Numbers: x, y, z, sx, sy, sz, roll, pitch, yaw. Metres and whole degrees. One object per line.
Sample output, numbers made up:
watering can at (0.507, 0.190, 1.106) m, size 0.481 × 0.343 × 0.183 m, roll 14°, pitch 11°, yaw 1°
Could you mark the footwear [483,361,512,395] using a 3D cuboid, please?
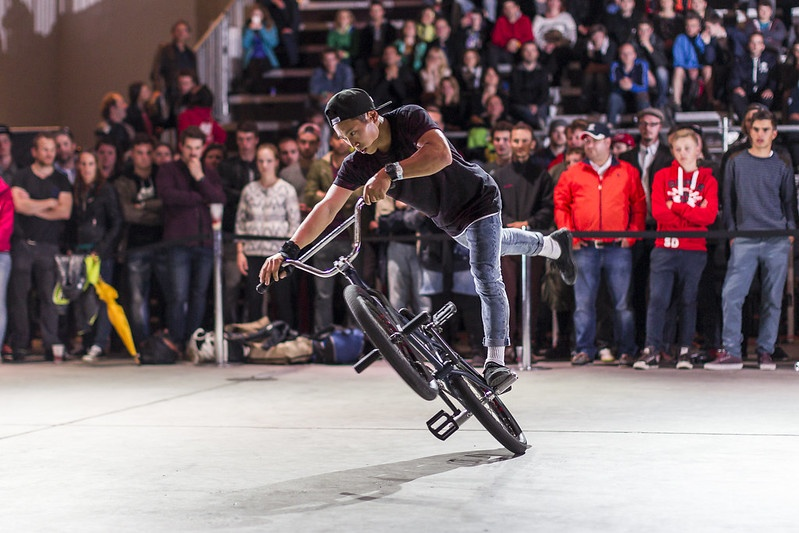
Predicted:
footwear at (0.959, 1.111, 13.157) m, size 0.203 × 0.139 × 0.345 m, roll -36°, pitch 54°, yaw -19°
